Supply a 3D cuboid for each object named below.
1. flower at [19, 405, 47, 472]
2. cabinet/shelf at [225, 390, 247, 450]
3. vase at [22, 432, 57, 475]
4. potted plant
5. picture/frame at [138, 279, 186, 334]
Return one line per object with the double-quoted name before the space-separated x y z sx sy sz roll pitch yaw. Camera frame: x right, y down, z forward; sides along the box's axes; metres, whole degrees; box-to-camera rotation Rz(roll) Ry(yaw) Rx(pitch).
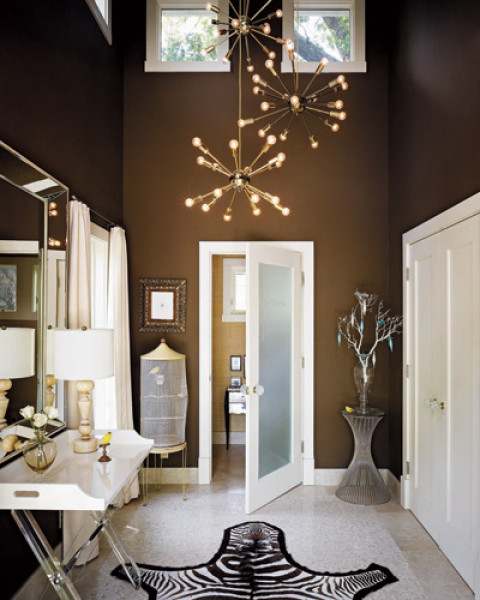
"flower" -0.923 0.632 2.209 0.136 0.305 0.131 -1 -19 -40
"cabinet/shelf" -0.105 1.295 5.268 0.270 0.640 0.296 7 -12 -32
"vase" -0.891 0.683 2.151 0.118 0.178 0.128 -1 6 -31
"potted plant" 1.086 0.417 4.114 0.509 1.002 0.425 0 0 12
"picture/frame" -0.692 0.036 4.260 0.402 0.605 0.059 -1 37 -12
